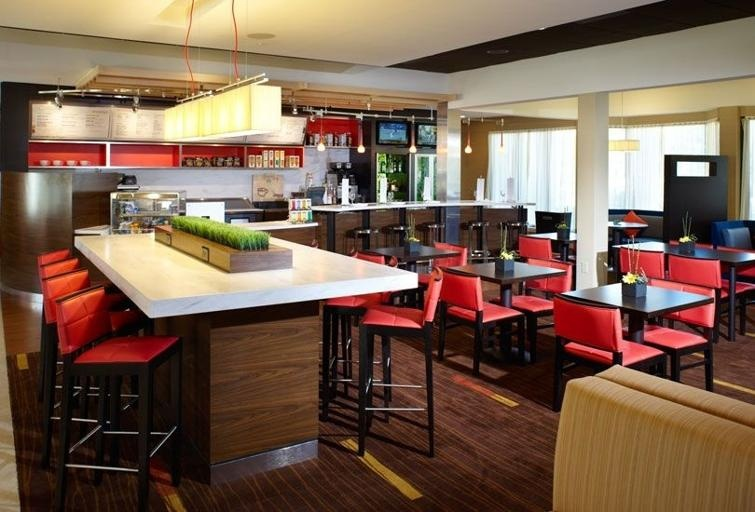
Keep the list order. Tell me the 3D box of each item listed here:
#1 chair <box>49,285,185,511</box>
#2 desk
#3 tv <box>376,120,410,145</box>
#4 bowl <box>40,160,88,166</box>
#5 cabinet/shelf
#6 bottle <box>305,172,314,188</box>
[{"bbox_3d":[-1.942,0.942,3.902,0.891,1.443,1.539,-6,14,-24],"label":"chair"},{"bbox_3d":[-1.127,0.716,4.248,1.742,1.285,2.831,-1,4,-30],"label":"desk"},{"bbox_3d":[0.305,-2.962,12.494,0.743,0.387,0.114,-2,9,-22],"label":"tv"},{"bbox_3d":[-5.732,-1.688,9.488,0.791,0.117,0.267,-8,15,-34],"label":"bowl"},{"bbox_3d":[-4.153,-1.996,10.537,4.989,0.579,0.541,-7,15,-30],"label":"cabinet/shelf"},{"bbox_3d":[-1.626,-1.808,12.173,0.180,0.269,0.258,0,13,-2],"label":"bottle"}]
